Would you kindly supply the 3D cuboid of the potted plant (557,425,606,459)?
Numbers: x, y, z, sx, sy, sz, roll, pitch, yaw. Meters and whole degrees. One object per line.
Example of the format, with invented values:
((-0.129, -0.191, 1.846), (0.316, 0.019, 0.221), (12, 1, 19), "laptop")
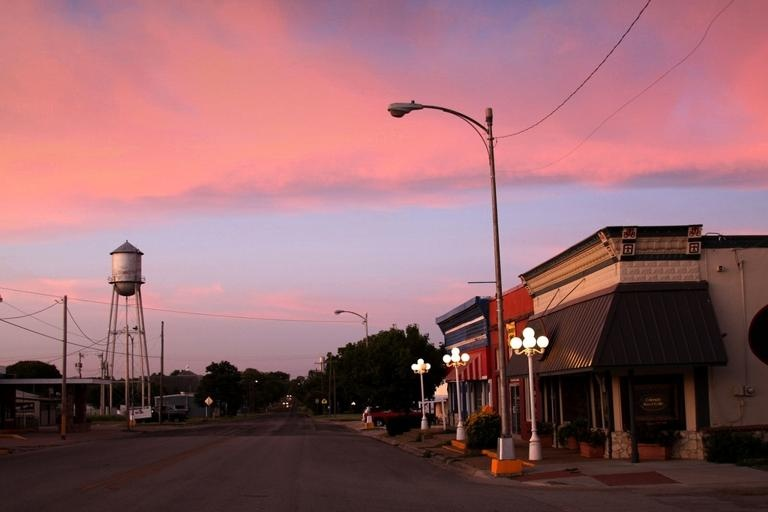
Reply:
((8.238, 7.590, 37.449), (1.106, 0.757, 2.171), (-2, -5, -9), "potted plant")
